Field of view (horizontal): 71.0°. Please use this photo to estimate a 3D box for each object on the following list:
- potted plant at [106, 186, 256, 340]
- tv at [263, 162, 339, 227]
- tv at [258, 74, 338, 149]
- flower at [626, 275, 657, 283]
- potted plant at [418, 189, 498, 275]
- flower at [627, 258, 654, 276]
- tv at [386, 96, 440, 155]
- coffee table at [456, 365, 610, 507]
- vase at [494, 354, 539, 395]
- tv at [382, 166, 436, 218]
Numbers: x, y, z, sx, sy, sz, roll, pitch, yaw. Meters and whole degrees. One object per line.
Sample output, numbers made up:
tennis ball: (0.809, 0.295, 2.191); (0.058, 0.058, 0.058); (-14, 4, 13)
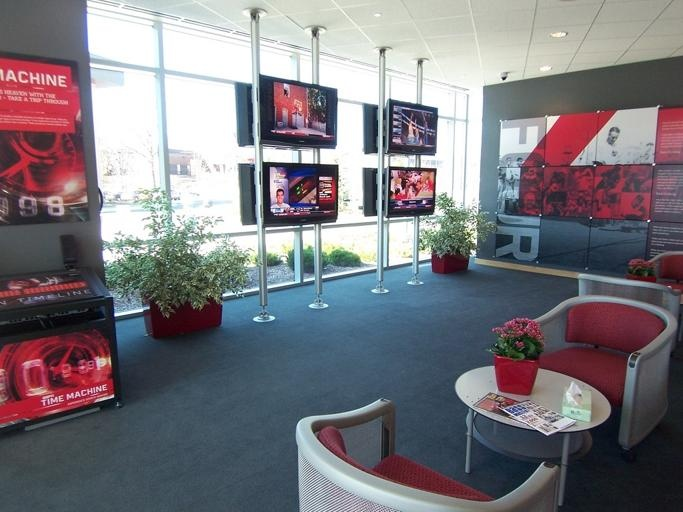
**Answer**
potted plant: (-1.918, 0.081, 5.632); (1.550, 1.709, 0.677); (-5, 12, -23)
tv: (-0.558, -0.820, 6.225); (0.955, 0.611, 0.065); (-6, 13, -34)
tv: (-0.567, -1.803, 6.084); (1.186, 0.727, 0.117); (-6, 13, -38)
flower: (3.505, 0.277, 5.640); (0.278, 0.062, 0.289); (-4, 8, -35)
potted plant: (2.158, -0.446, 8.999); (1.593, 1.444, 0.684); (-9, 14, -37)
flower: (3.627, 0.137, 5.810); (0.262, 0.173, 0.236); (-1, 18, -1)
tv: (1.098, -1.988, 7.482); (0.189, 0.789, 1.133); (10, 15, 44)
coffee table: (1.406, 1.046, 3.462); (1.016, 0.561, 0.974); (-12, 23, -35)
vase: (1.251, 0.841, 3.482); (0.302, 0.209, 0.294); (1, 3, -2)
tv: (1.041, -1.025, 7.557); (0.930, 0.592, 0.097); (-7, 15, -36)
